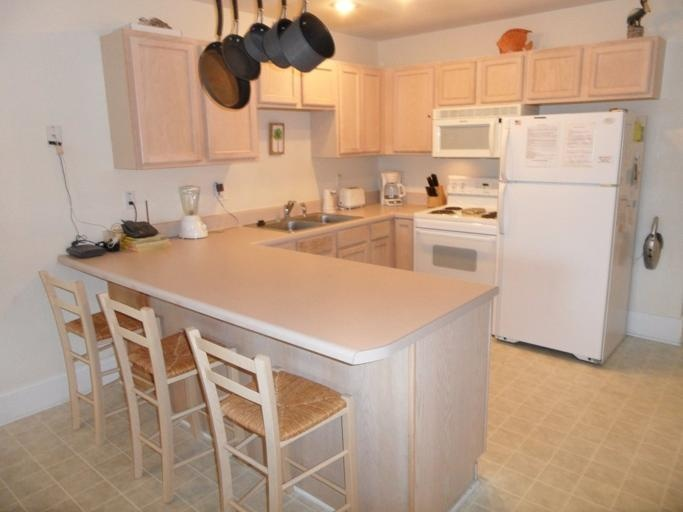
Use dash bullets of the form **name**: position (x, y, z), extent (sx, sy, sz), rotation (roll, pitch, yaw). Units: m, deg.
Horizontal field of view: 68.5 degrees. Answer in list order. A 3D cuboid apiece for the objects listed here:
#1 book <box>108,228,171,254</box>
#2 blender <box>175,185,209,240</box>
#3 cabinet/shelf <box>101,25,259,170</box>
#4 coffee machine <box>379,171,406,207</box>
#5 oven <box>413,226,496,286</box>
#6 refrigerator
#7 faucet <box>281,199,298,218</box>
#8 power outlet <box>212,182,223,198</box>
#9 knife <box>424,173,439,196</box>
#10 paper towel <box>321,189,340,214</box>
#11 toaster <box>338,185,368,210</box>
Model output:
- **book**: position (-1.472, -0.114, 3.721), extent (0.346, 0.122, 0.195), rotation (-10, 17, -25)
- **blender**: position (-1.224, -0.357, 4.099), extent (0.237, 0.395, 0.234), rotation (8, 16, 13)
- **cabinet/shelf**: position (-1.185, -1.102, 3.475), extent (0.351, 0.890, 1.024), rotation (11, 20, 33)
- **coffee machine**: position (0.552, -0.753, 5.580), extent (0.327, 0.440, 0.359), rotation (-9, 13, -36)
- **oven**: position (1.062, -0.014, 4.608), extent (0.722, 0.475, 0.496), rotation (8, 13, 38)
- **refrigerator**: position (1.729, -0.152, 4.086), extent (0.934, 1.971, 0.335), rotation (11, 21, 38)
- **faucet**: position (-0.495, -0.469, 4.914), extent (0.103, 0.153, 0.217), rotation (6, 18, 26)
- **power outlet**: position (-1.089, -0.584, 4.372), extent (0.092, 0.169, 0.092), rotation (9, 20, 23)
- **knife**: position (0.968, -0.776, 5.383), extent (0.113, 0.369, 0.077), rotation (-27, 41, -18)
- **paper towel**: position (-0.065, -0.559, 5.146), extent (0.267, 0.269, 0.165), rotation (11, 17, 37)
- **toaster**: position (0.130, -0.690, 5.313), extent (0.206, 0.289, 0.392), rotation (8, 18, 34)
